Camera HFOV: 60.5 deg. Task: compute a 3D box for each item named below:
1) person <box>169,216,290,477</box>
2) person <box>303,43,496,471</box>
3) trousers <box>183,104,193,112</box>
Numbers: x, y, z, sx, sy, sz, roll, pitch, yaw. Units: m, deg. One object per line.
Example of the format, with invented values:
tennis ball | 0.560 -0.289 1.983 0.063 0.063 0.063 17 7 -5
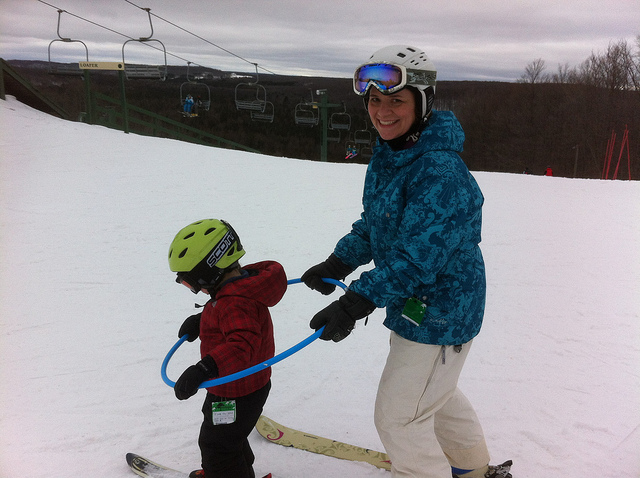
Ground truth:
person | -0.644 0.843 3.813 0.785 1.890 0.676 0 10 -16
person | 0.573 0.152 3.516 0.945 2.699 0.545 5 10 17
trousers | -4.506 -4.390 18.676 0.253 0.373 0.200 9 13 23
